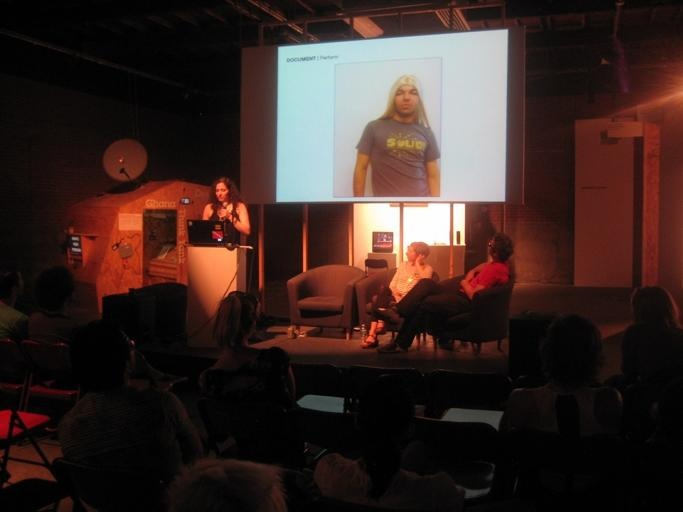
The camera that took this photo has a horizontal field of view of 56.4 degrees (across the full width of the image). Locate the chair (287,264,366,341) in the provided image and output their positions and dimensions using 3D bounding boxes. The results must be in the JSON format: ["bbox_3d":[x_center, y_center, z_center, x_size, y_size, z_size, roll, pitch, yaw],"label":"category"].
[{"bbox_3d":[-0.121,0.455,7.237,0.781,0.836,0.794,1,0,17],"label":"chair"}]

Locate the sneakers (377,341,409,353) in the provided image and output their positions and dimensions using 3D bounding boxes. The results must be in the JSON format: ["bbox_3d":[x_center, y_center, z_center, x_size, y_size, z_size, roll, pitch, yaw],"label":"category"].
[{"bbox_3d":[0.538,0.918,6.480,0.317,0.138,0.123,5,-7,-19],"label":"sneakers"}]

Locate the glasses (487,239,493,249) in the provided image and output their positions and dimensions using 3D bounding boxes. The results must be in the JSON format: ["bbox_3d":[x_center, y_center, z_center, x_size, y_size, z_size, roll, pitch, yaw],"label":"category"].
[{"bbox_3d":[1.690,-0.143,7.174,0.085,0.128,0.044,0,-6,8],"label":"glasses"}]

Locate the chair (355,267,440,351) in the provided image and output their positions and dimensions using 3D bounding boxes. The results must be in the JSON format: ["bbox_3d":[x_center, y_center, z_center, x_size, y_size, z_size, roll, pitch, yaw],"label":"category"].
[{"bbox_3d":[0.637,0.373,6.696,0.549,0.820,1.388,1,17,28],"label":"chair"}]

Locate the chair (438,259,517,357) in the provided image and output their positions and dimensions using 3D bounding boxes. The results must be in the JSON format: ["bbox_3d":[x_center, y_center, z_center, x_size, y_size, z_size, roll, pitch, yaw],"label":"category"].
[{"bbox_3d":[1.340,0.623,6.490,0.627,0.761,0.677,-12,-18,30],"label":"chair"}]
